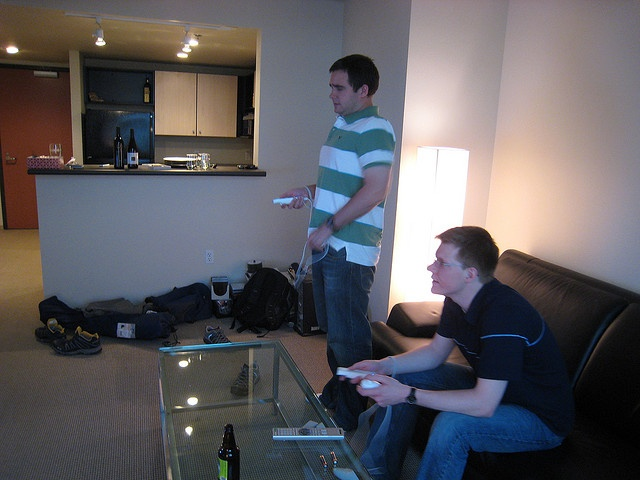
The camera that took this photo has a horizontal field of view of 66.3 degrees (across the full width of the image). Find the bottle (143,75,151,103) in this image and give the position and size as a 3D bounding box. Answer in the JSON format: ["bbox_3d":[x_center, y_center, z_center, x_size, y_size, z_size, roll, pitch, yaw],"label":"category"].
[{"bbox_3d":[-2.454,-2.107,6.949,0.128,0.364,0.107,-3,9,-19],"label":"bottle"}]

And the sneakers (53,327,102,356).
[{"bbox_3d":[-1.835,0.780,3.777,0.362,0.206,0.158,7,3,-13],"label":"sneakers"}]

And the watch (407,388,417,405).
[{"bbox_3d":[0.412,0.704,2.208,0.047,0.094,0.056,2,9,13],"label":"watch"}]

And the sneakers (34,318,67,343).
[{"bbox_3d":[-2.117,0.731,3.841,0.320,0.175,0.126,7,15,22],"label":"sneakers"}]

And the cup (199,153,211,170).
[{"bbox_3d":[-1.138,-0.761,4.790,0.111,0.139,0.135,-4,9,-22],"label":"cup"}]

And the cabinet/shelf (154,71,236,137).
[{"bbox_3d":[-1.824,-1.945,6.975,0.874,0.696,0.348,0,6,-13],"label":"cabinet/shelf"}]

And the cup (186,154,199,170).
[{"bbox_3d":[-1.231,-0.755,4.745,0.130,0.138,0.089,-7,11,-36],"label":"cup"}]

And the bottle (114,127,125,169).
[{"bbox_3d":[-1.878,-0.850,4.544,0.082,0.383,0.471,-4,9,-23],"label":"bottle"}]

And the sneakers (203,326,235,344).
[{"bbox_3d":[-0.804,0.699,3.722,0.306,0.143,0.113,6,2,38],"label":"sneakers"}]

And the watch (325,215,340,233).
[{"bbox_3d":[0.059,-0.083,2.642,0.061,0.087,0.029,6,13,38],"label":"watch"}]
